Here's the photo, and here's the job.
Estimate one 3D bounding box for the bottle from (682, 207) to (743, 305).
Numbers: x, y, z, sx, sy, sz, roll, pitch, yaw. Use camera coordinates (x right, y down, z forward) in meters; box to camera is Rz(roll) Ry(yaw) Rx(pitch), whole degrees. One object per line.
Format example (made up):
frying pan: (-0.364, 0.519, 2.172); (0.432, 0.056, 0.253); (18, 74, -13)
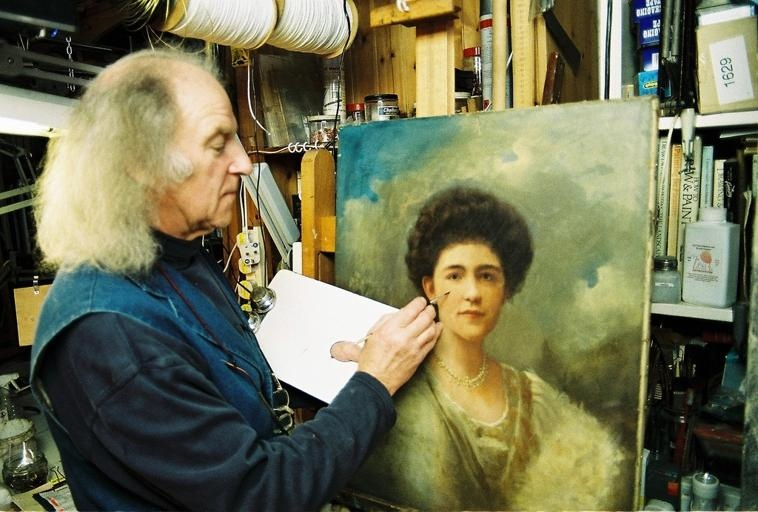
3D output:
bottle: (1.075, 0.019, 2.332); (0.103, 0.460, 0.261); (1, 8, 20)
